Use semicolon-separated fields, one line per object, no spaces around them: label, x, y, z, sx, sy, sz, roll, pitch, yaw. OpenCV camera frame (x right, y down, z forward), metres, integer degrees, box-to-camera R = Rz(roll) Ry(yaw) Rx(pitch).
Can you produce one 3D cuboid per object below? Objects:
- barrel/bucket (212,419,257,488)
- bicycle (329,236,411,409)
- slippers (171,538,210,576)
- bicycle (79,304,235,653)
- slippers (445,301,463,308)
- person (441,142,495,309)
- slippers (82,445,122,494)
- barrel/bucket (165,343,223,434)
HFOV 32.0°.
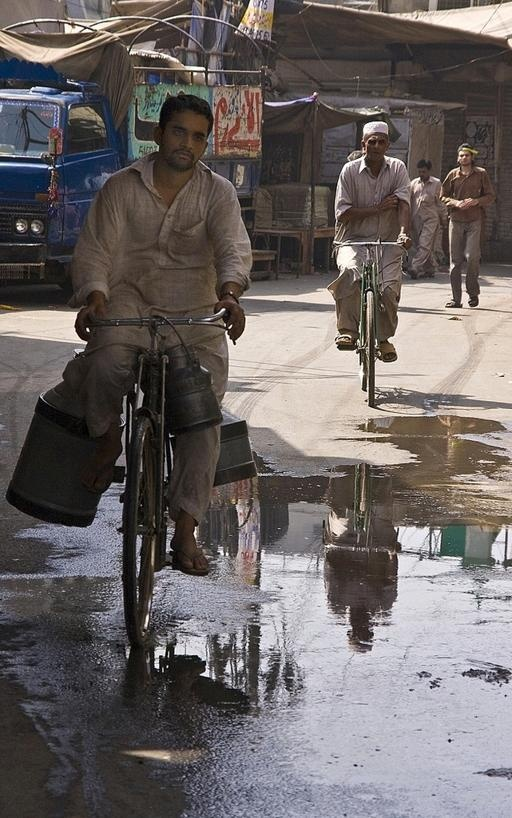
barrel/bucket;-0.089;0.176;3.694;0.247;0.209;0.243;-11;-1;0
bicycle;0.973;-0.758;7.701;0.532;1.397;0.993;1;6;-4
slippers;-0.232;0.527;3.192;0.083;0.050;0.177;1;6;-30
bicycle;-0.342;0.202;3.063;0.450;1.093;0.814;1;6;-4
slippers;3.075;-1.622;13.877;0.142;0.086;0.323;0;1;4
person;3.230;-2.819;13.771;0.777;2.544;0.899;4;6;17
slippers;-0.574;0.222;3.304;0.192;0.075;0.136;-16;-12;-21
barrel/bucket;-0.240;-0.066;3.149;0.190;0.285;0.202;-12;7;2
